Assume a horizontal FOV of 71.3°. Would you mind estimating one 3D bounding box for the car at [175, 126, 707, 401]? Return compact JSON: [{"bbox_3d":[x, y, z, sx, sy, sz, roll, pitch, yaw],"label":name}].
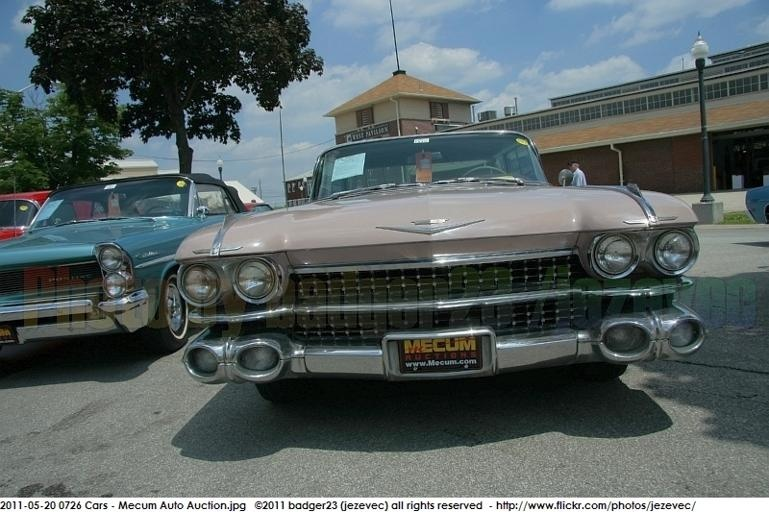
[{"bbox_3d":[0.417,-0.011,4.343,3.354,1.943,2.361,-4,12,6],"label":"car"}]
